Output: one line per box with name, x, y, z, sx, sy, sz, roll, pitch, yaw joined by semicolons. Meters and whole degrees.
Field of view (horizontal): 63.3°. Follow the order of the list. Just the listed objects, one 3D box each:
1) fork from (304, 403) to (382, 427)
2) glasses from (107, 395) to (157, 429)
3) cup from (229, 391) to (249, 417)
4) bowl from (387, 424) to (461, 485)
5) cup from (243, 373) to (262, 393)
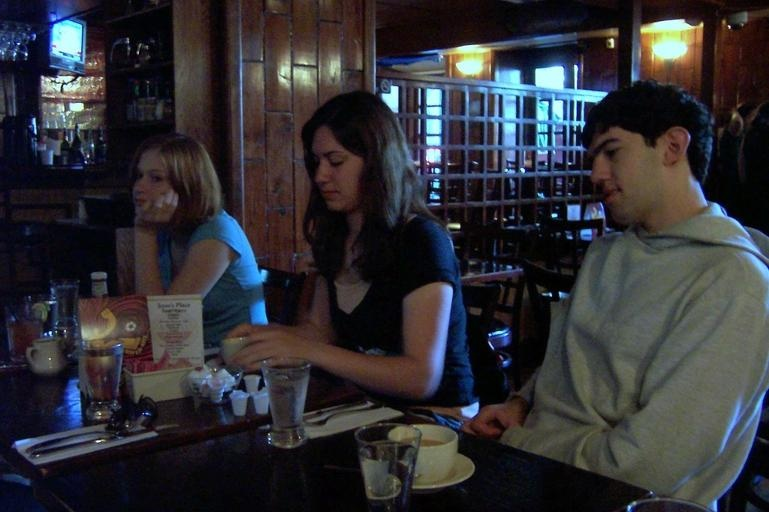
fork;-0.123;0.406;1.656;0.058;0.038;0.218;7;7;36
glasses;-0.664;0.406;1.647;0.066;0.035;0.090;-1;8;7
cup;-0.388;0.396;1.679;0.058;0.058;0.051;1;-6;-13
bowl;0.089;0.428;1.410;0.140;0.085;0.126;0;0;-25
cup;-0.369;0.356;1.768;0.054;0.041;0.052;-4;5;0
